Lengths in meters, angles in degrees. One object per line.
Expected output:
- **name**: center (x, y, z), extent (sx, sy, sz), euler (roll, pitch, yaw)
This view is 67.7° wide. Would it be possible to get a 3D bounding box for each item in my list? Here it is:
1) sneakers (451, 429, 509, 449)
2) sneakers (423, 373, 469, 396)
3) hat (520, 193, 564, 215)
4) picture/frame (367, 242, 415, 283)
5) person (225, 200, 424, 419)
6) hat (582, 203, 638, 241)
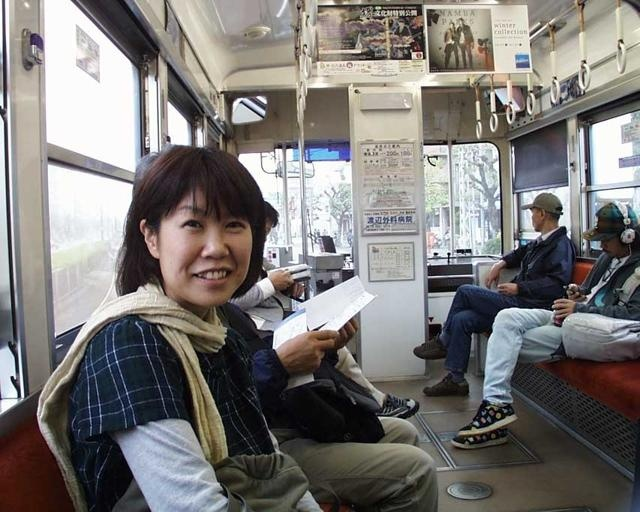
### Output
- **sneakers**: center (1.062, 1.220, 3.233), extent (0.378, 0.175, 0.136), euler (0, -4, -11)
- **sneakers**: center (1.085, 1.118, 4.157), extent (0.428, 0.230, 0.156), euler (1, -5, 0)
- **hat**: center (2.064, -0.500, 4.457), extent (0.302, 0.174, 0.195), euler (13, 12, 42)
- **picture/frame**: center (0.641, 0.048, 4.437), extent (0.325, 0.313, 0.023), euler (1, 0, -5)
- **person**: center (0.036, 0.417, 2.889), extent (0.497, 1.387, 1.098), euler (-30, -21, 34)
- **hat**: center (1.953, -0.233, 3.261), extent (0.291, 0.196, 0.207), euler (-6, 8, 23)
